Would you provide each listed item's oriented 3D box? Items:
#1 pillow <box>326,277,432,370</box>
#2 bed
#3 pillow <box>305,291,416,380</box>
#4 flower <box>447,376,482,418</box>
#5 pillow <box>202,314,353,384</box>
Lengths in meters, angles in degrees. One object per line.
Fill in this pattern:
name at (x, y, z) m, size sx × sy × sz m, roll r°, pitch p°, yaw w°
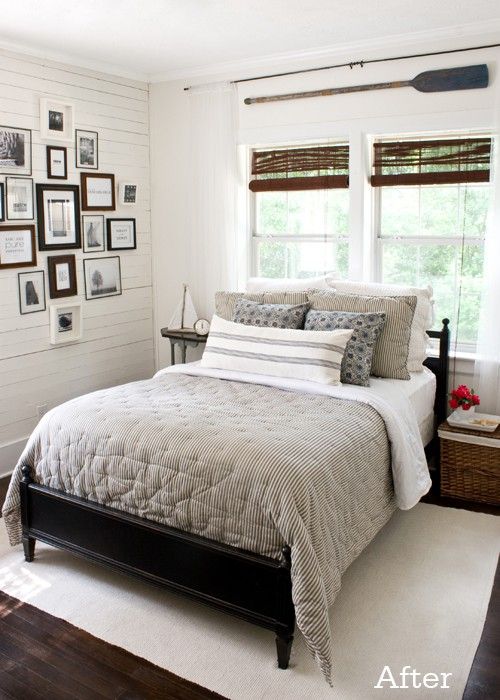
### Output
pillow at (0.859, -0.231, 2.836) m, size 0.505 × 0.532 × 0.157 m, roll 5°, pitch -16°, yaw 23°
bed at (0.156, 0.314, 2.236) m, size 1.182 × 1.028 × 1.626 m, roll 5°, pitch 10°, yaw 31°
pillow at (0.548, -0.090, 2.884) m, size 0.701 × 0.540 × 0.259 m, roll 5°, pitch 20°, yaw 19°
flower at (1.219, 0.266, 2.901) m, size 0.185 × 0.206 × 0.193 m, roll 0°, pitch 3°, yaw 32°
pillow at (0.094, 0.006, 2.686) m, size 0.844 × 0.294 × 0.255 m, roll 5°, pitch 10°, yaw 29°
